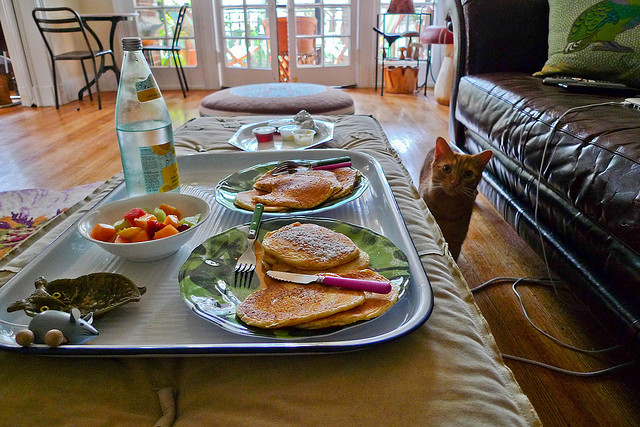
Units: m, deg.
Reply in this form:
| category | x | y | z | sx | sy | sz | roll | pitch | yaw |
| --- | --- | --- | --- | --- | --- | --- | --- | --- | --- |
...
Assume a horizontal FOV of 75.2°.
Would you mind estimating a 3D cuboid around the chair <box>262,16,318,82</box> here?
| category | x | y | z | sx | sy | sz | roll | pitch | yaw |
| --- | --- | --- | --- | --- | --- | --- | --- | --- | --- |
| chair | -0.275 | -2.004 | 4.818 | 0.765 | 0.803 | 0.732 | -8 | 36 | -9 |

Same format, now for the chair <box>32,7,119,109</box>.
| category | x | y | z | sx | sy | sz | roll | pitch | yaw |
| --- | --- | --- | --- | --- | --- | --- | --- | --- | --- |
| chair | -2.346 | -1.499 | 3.991 | 0.555 | 0.856 | 1.151 | -16 | 27 | -28 |

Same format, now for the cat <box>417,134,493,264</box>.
| category | x | y | z | sx | sy | sz | roll | pitch | yaw |
| --- | --- | --- | --- | --- | --- | --- | --- | --- | --- |
| cat | 0.480 | -0.041 | 1.421 | 0.133 | 0.310 | 0.554 | 10 | 58 | -2 |

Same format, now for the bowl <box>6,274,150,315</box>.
| category | x | y | z | sx | sy | sz | roll | pitch | yaw |
| --- | --- | --- | --- | --- | --- | --- | --- | --- | --- |
| bowl | -0.398 | 0.139 | 0.692 | 0.122 | 0.029 | 0.106 | 3 | 15 | 3 |

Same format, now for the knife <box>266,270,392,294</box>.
| category | x | y | z | sx | sy | sz | roll | pitch | yaw |
| --- | --- | --- | --- | --- | --- | --- | --- | --- | --- |
| knife | 0.020 | 0.103 | 0.681 | 0.169 | 0.026 | 0.123 | -4 | 13 | -10 |

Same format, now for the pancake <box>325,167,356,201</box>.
| category | x | y | z | sx | sy | sz | roll | pitch | yaw |
| --- | --- | --- | --- | --- | --- | --- | --- | --- | --- |
| pancake | 0.063 | -0.088 | 1.019 | 0.074 | 0.013 | 0.119 | -9 | 32 | 4 |

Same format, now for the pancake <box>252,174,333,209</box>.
| category | x | y | z | sx | sy | sz | roll | pitch | yaw |
| --- | --- | --- | --- | --- | --- | --- | --- | --- | --- |
| pancake | -0.059 | -0.072 | 1.031 | 0.231 | 0.070 | 0.194 | 1 | 14 | 25 |

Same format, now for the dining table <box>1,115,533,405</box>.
| category | x | y | z | sx | sy | sz | roll | pitch | yaw |
| --- | --- | --- | --- | --- | --- | --- | --- | --- | --- |
| dining table | -0.139 | 0.078 | 0.847 | 0.833 | 0.210 | 0.708 | -4 | 23 | -5 |

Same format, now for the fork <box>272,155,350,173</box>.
| category | x | y | z | sx | sy | sz | roll | pitch | yaw |
| --- | --- | --- | --- | --- | --- | --- | --- | --- | --- |
| fork | -0.025 | -0.133 | 1.115 | 0.233 | 0.031 | 0.040 | -6 | 34 | 9 |
